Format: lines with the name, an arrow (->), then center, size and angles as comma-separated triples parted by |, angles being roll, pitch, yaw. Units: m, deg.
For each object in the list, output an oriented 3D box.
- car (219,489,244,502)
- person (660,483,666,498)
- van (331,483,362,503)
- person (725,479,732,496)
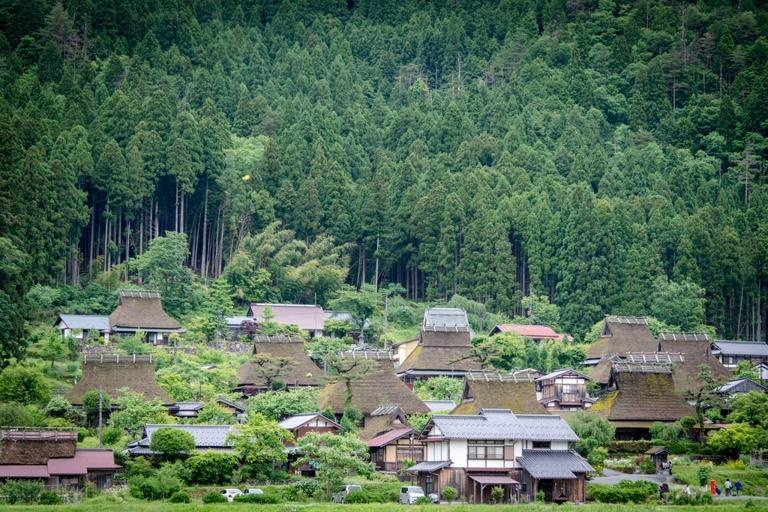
car -> -11.716, 18.389, 136.611 | 1.621, 0.737, 1.551 | -1, 3, -7
person -> 21.976, 18.252, 138.326 | 0.656, 0.802, 1.300 | 0, 3, 13
van -> -2.869, 18.343, 136.928 | 1.164, 1.121, 1.933 | 3, -1, -34
person -> 27.191, 18.097, 139.079 | 0.546, 1.069, 1.493 | 0, 3, 9
